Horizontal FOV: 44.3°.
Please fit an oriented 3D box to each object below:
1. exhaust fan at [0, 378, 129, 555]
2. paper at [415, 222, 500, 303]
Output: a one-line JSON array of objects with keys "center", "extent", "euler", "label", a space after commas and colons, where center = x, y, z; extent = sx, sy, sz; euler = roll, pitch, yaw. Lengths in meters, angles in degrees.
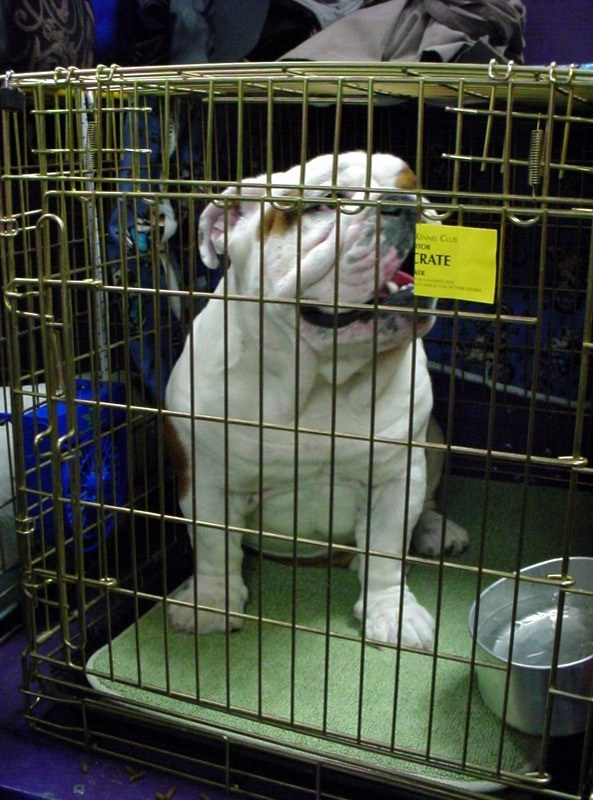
[{"center": [-0.385, 0.112, 1.202], "extent": [0.124, 0.286, 0.292], "euler": [7, 14, 18], "label": "exhaust fan"}, {"center": [0.163, -0.139, 0.742], "extent": [0.105, 0.090, 0.011], "euler": [16, 30, 30], "label": "paper"}]
